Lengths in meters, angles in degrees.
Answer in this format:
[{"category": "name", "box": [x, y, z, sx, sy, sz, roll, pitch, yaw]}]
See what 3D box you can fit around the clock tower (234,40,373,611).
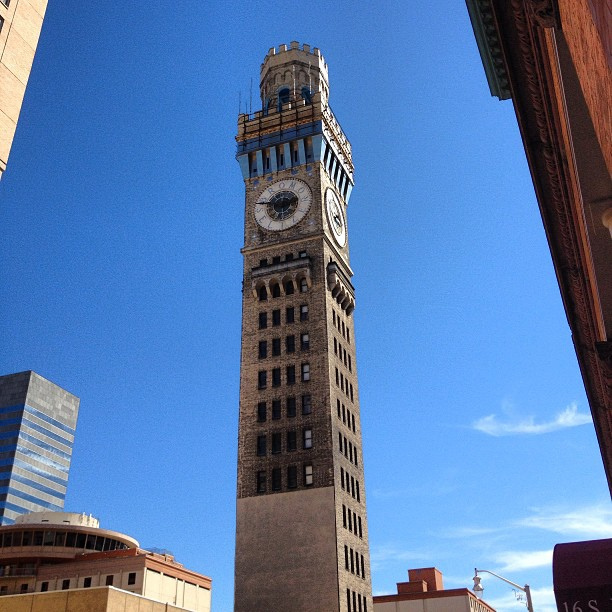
[{"category": "clock tower", "box": [-1.132, -4.690, 73.753, 12.687, 71.624, 8.663, 3, -32, -7]}]
